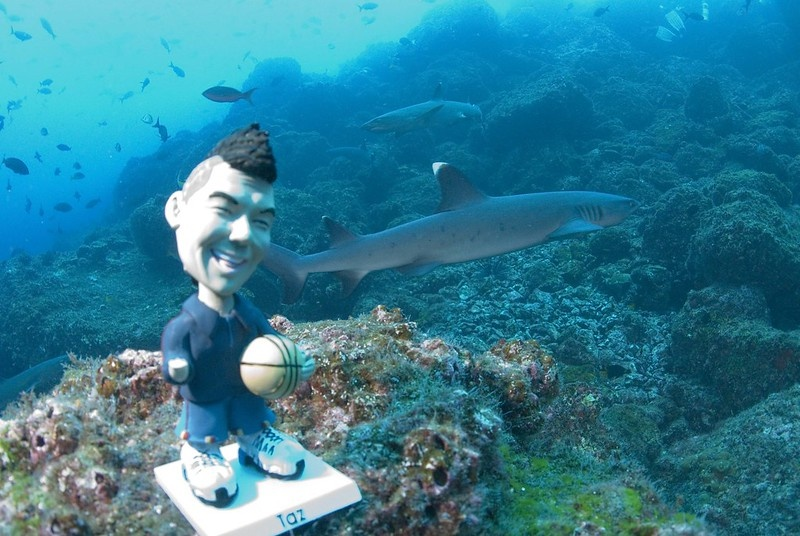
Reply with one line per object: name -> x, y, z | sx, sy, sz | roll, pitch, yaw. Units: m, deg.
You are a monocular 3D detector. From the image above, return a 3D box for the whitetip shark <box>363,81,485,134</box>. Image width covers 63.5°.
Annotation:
whitetip shark -> 0.760, -4.579, 19.521 | 3.064, 1.172, 1.482 | -18, 61, -13
